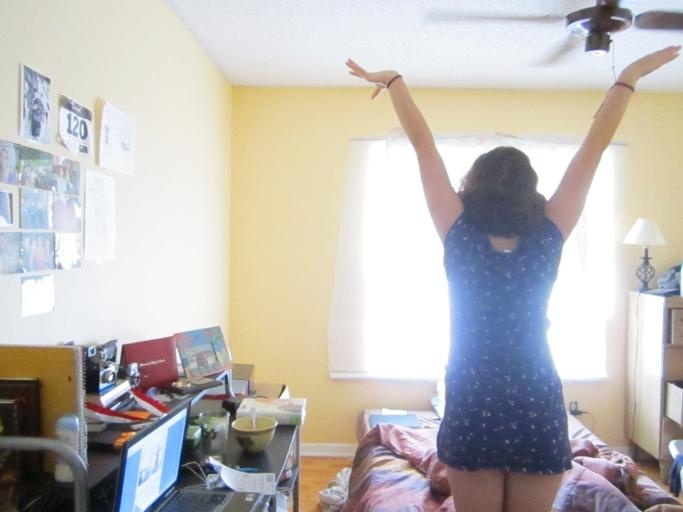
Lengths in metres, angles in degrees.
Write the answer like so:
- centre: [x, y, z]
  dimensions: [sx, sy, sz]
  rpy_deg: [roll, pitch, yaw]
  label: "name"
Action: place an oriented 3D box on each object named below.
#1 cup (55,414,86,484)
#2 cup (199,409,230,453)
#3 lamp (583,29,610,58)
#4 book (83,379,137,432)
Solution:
- centre: [-0.922, 0.661, 1.993]
  dimensions: [0.084, 0.237, 0.095]
  rpy_deg: [4, 15, 16]
  label: "cup"
- centre: [-0.556, 0.793, 2.618]
  dimensions: [0.142, 0.169, 0.150]
  rpy_deg: [0, -6, 0]
  label: "cup"
- centre: [1.253, -1.043, 2.871]
  dimensions: [0.103, 0.077, 0.104]
  rpy_deg: [5, -3, -17]
  label: "lamp"
- centre: [-0.964, 0.619, 2.445]
  dimensions: [0.159, 0.056, 0.163]
  rpy_deg: [5, 5, 12]
  label: "book"
